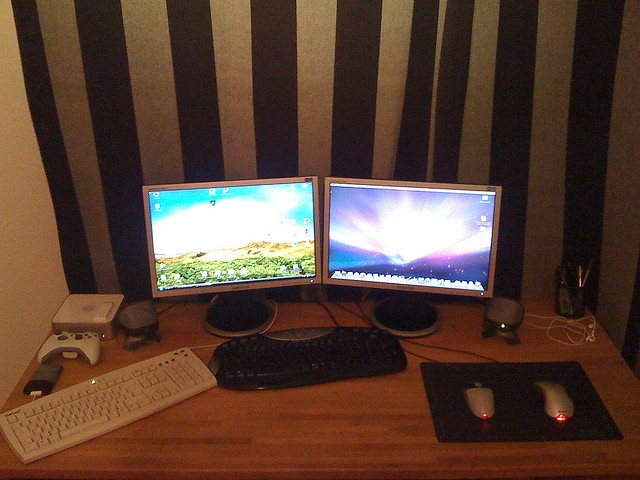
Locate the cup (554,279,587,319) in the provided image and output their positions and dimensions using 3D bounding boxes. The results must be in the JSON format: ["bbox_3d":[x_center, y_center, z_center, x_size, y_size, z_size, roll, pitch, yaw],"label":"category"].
[{"bbox_3d":[1.014,0.250,2.178,0.150,0.137,0.137,0,3,0],"label":"cup"}]

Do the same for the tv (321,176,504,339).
[{"bbox_3d":[0.364,0.053,2.029,0.653,0.508,0.272,3,21,8],"label":"tv"}]

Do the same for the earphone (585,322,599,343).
[{"bbox_3d":[1.067,0.357,2.023,0.035,0.014,0.107,1,22,20],"label":"earphone"}]

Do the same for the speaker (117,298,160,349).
[{"bbox_3d":[-0.688,0.311,2.085,0.189,0.194,0.168,-9,28,-29],"label":"speaker"}]

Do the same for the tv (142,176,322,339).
[{"bbox_3d":[-0.345,0.052,2.032,0.647,0.504,0.296,-3,23,-10],"label":"tv"}]

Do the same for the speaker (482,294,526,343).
[{"bbox_3d":[0.702,0.298,2.073,0.183,0.163,0.172,11,23,34],"label":"speaker"}]

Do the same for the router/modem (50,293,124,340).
[{"bbox_3d":[-0.913,0.301,2.037,0.203,0.053,0.187,3,22,0],"label":"router/modem"}]

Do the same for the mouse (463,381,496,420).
[{"bbox_3d":[0.531,0.533,1.707,0.074,0.028,0.095,0,36,4],"label":"mouse"}]
